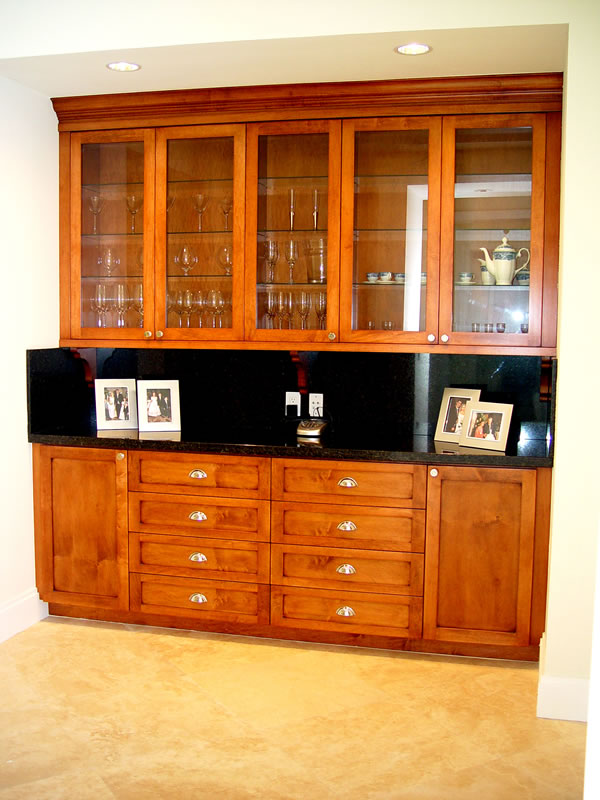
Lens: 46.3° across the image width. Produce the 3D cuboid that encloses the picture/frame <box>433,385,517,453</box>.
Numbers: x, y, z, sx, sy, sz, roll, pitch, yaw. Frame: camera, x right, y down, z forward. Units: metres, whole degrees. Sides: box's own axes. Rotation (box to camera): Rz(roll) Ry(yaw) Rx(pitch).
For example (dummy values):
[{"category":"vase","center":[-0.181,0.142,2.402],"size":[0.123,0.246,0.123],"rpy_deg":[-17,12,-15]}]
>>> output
[{"category":"picture/frame","center":[0.741,0.085,2.949],"size":[0.020,0.204,0.275],"rpy_deg":[25,-12,-37]}]

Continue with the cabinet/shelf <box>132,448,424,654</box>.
[{"category":"cabinet/shelf","center":[-0.048,0.600,2.868],"size":[0.871,0.504,0.273],"rpy_deg":[1,0,13]}]

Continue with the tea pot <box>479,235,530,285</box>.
[{"category":"tea pot","center":[0.828,-0.556,2.866],"size":[0.246,0.236,0.124],"rpy_deg":[3,11,12]}]
